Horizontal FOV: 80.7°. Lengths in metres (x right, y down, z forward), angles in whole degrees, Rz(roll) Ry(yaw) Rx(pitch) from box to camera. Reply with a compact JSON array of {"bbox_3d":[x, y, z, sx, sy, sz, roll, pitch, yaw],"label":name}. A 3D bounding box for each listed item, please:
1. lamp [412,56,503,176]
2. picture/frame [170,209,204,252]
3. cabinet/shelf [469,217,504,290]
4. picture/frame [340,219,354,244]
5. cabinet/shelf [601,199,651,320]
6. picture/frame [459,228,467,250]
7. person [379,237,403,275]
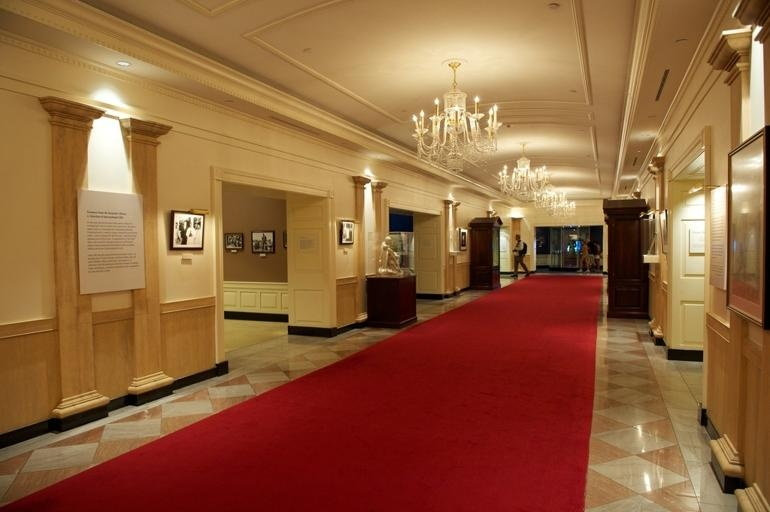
[{"bbox_3d":[1.159,-2.405,7.567,1.439,1.930,1.403,-4,4,-34],"label":"lamp"},{"bbox_3d":[-2.936,-0.399,6.644,0.040,0.641,0.617,0,1,29],"label":"picture/frame"},{"bbox_3d":[4.098,-0.196,18.066,0.939,2.793,1.645,0,1,26],"label":"cabinet/shelf"},{"bbox_3d":[-0.851,-0.561,9.968,0.042,0.444,0.510,-1,4,22],"label":"picture/frame"},{"bbox_3d":[5.808,0.066,10.887,1.041,2.830,0.563,3,8,26],"label":"cabinet/shelf"},{"bbox_3d":[2.845,-0.657,16.657,0.079,0.801,0.808,0,1,22],"label":"picture/frame"},{"bbox_3d":[0.123,-0.011,10.684,0.559,0.864,0.527,4,10,14],"label":"person"}]
